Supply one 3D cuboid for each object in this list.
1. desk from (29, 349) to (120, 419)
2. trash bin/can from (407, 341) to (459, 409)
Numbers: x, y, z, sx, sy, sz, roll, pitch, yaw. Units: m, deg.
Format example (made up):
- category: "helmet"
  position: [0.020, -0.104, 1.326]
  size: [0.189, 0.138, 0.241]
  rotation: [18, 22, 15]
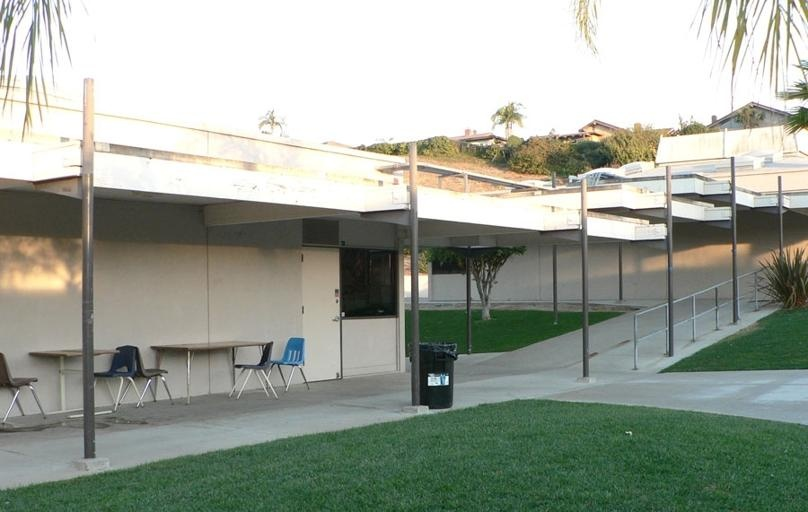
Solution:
- category: "desk"
  position: [-5.442, 2.370, 15.639]
  size: [1.450, 1.371, 1.501]
  rotation: [0, -1, -41]
- category: "trash bin/can"
  position: [0.586, 2.089, 16.152]
  size: [0.667, 1.145, 0.356]
  rotation: [-3, -5, -1]
